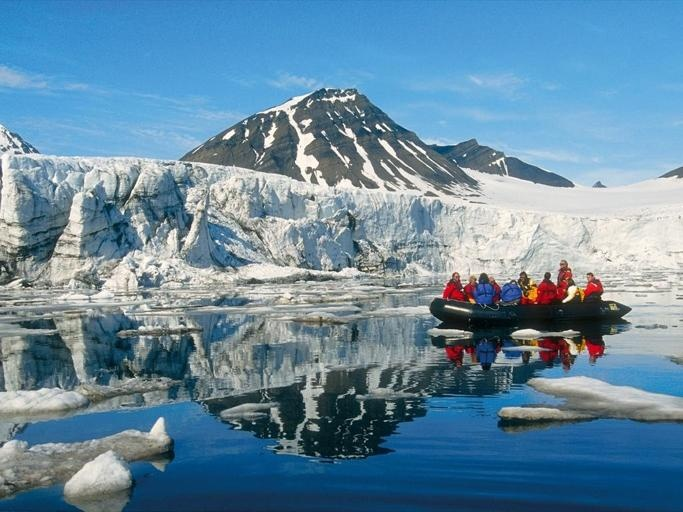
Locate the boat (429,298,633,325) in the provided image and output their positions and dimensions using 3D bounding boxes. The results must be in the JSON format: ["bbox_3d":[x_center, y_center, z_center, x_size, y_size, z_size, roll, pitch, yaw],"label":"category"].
[{"bbox_3d":[5.835,1.663,25.906,5.142,0.487,1.628,0,-6,-10],"label":"boat"}]
